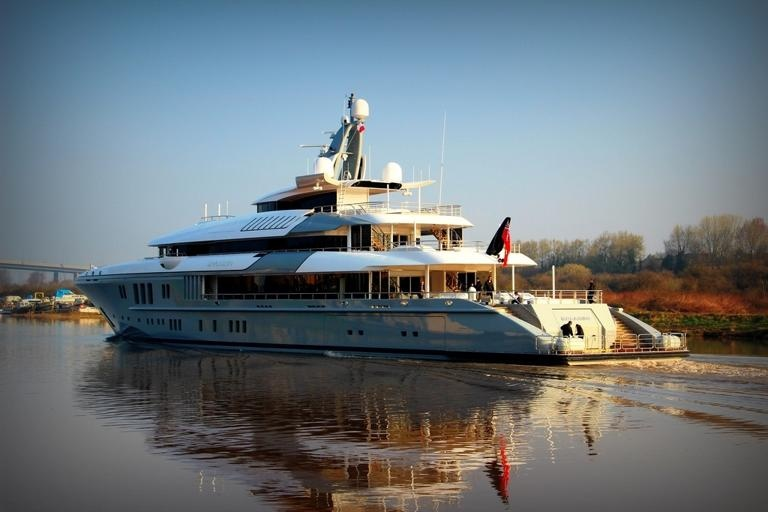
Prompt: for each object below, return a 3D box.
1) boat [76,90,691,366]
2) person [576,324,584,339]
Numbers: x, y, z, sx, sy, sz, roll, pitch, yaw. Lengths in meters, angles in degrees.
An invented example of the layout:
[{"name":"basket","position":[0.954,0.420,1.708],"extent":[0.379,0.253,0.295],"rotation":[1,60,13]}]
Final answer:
[{"name":"boat","position":[-2.850,-0.402,50.528],"extent":[34.616,9.118,10.650],"rotation":[1,-2,42]},{"name":"person","position":[8.065,3.000,40.833],"extent":[0.313,0.427,0.804],"rotation":[0,9,10]}]
